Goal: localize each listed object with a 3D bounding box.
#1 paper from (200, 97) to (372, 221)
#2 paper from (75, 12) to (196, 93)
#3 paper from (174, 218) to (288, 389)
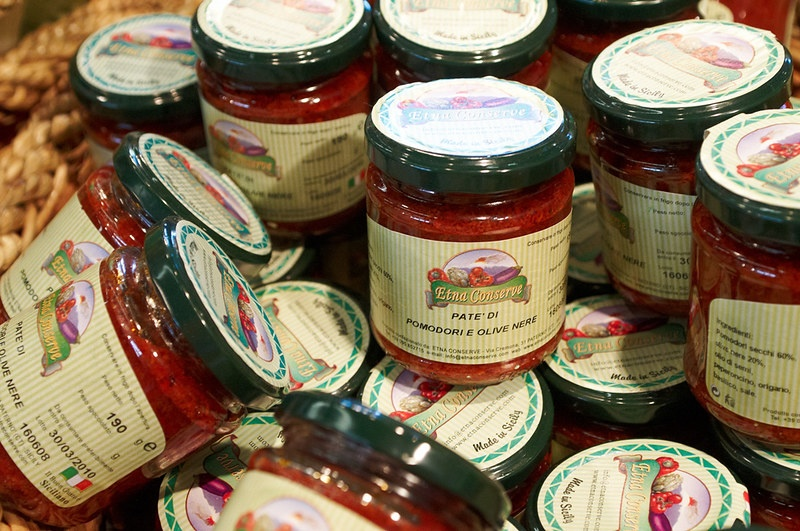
[{"bbox_3d":[-0.253,-0.223,1.663,0.284,0.275,0.284,-26,46,-31],"label":"paper"},{"bbox_3d":[-0.619,-0.492,1.704,0.279,0.074,0.312,-22,46,-8],"label":"paper"},{"bbox_3d":[-0.303,0.067,1.291,0.061,0.267,0.268,-31,70,-4],"label":"paper"}]
